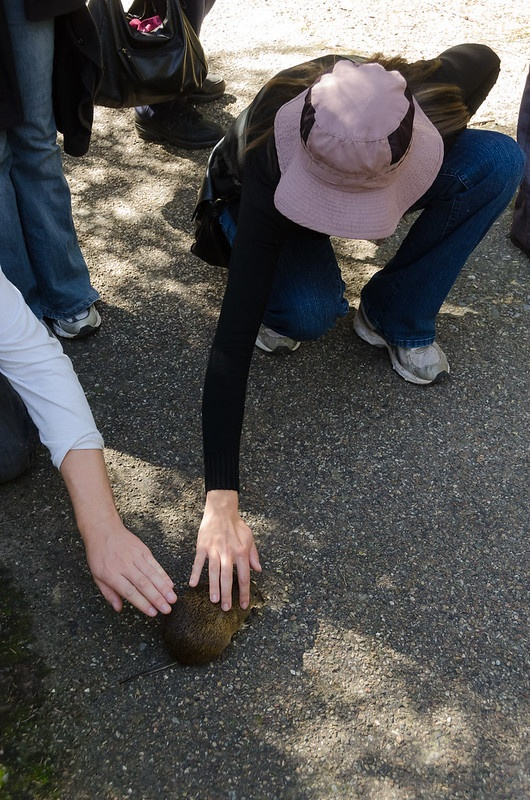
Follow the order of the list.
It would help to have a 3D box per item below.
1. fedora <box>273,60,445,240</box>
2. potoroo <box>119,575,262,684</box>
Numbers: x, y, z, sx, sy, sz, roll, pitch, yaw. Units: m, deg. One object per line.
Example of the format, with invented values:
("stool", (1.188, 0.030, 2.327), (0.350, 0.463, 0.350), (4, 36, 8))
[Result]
("fedora", (0.239, -0.613, 1.616), (0.434, 0.372, 0.393), (4, 46, -1))
("potoroo", (-0.174, 0.614, 1.897), (0.428, 0.185, 0.171), (-35, 63, -18))
